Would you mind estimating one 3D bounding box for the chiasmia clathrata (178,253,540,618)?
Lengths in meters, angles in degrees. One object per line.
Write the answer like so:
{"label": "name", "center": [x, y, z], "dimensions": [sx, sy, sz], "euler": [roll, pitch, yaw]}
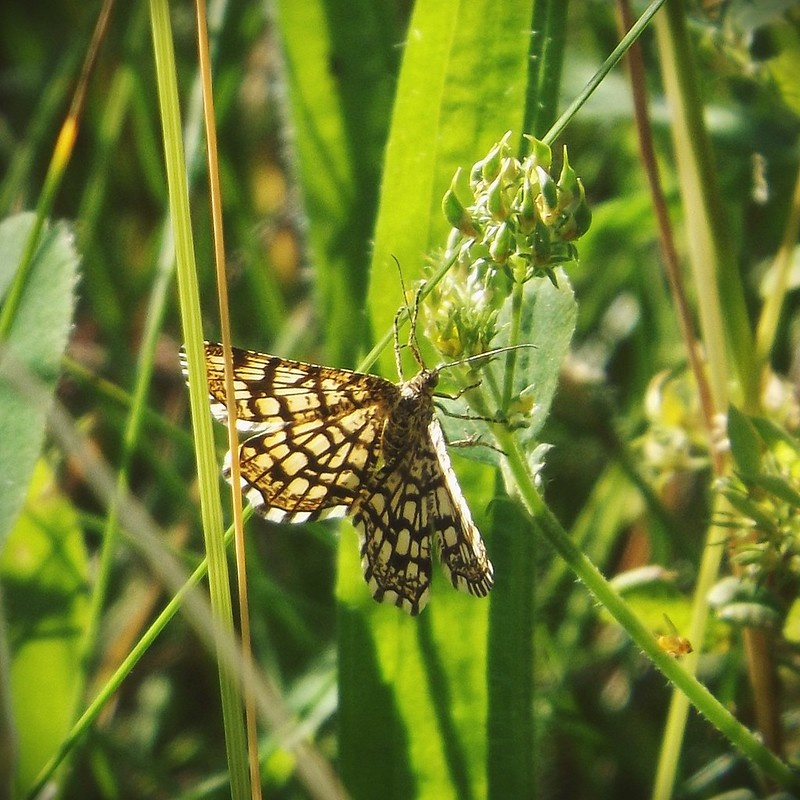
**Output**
{"label": "chiasmia clathrata", "center": [-0.018, 0.051, 1.344], "dimensions": [0.432, 0.377, 0.148], "euler": [26, 18, 35]}
